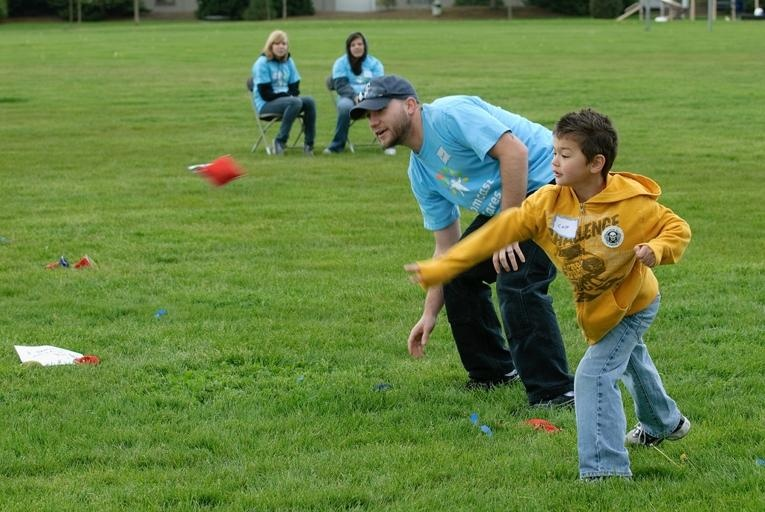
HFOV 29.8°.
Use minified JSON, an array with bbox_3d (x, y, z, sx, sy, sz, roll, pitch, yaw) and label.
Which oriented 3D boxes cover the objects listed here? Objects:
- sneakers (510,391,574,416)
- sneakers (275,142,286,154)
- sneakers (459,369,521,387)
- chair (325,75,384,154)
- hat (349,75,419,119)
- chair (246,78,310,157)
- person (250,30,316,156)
[{"bbox_3d":[1.465,1.395,13.663,0.669,0.253,0.217,1,-5,9],"label":"sneakers"},{"bbox_3d":[-1.464,-1.551,20.256,0.176,0.222,0.080,5,-8,-29],"label":"sneakers"},{"bbox_3d":[1.039,1.183,13.886,0.540,0.204,0.186,-2,-2,-6],"label":"sneakers"},{"bbox_3d":[-0.331,-2.047,21.078,1.001,0.992,1.014,0,6,30],"label":"chair"},{"bbox_3d":[-0.032,-1.548,13.530,0.671,0.300,0.429,-19,6,-22],"label":"hat"},{"bbox_3d":[-1.457,-1.999,20.742,0.764,0.997,0.874,-1,6,-25],"label":"chair"},{"bbox_3d":[-1.414,-2.325,20.359,0.905,1.704,0.639,1,10,-9],"label":"person"}]
